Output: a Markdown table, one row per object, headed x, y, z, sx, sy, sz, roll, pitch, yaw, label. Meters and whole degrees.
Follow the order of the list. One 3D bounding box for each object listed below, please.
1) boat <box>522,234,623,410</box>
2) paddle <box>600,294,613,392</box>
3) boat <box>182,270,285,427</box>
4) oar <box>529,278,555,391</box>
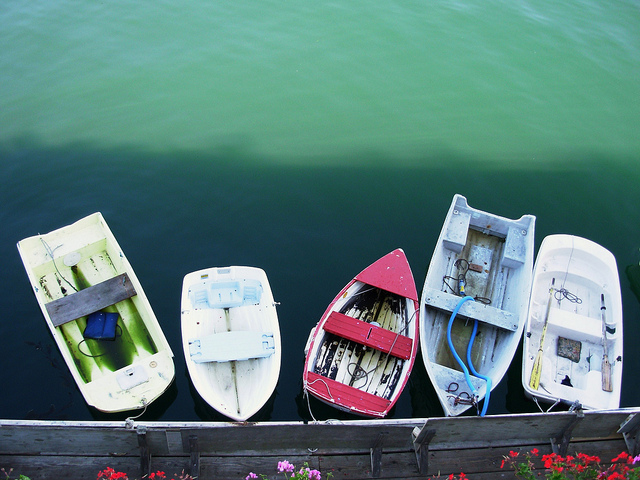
| x | y | z | sx | sy | sz | roll | pitch | yaw | label |
| --- | --- | --- | --- | --- | --- | --- | --- | --- | --- |
| 7.078 | 2.655 | 24.528 | 2.367 | 1.037 | 4.964 | 5 | 62 | 10 | boat |
| 7.733 | 2.831 | 23.281 | 0.269 | 0.173 | 2.548 | 0 | 53 | 14 | paddle |
| -2.370 | 2.601 | 22.966 | 2.474 | 0.776 | 3.965 | -13 | 67 | -3 | boat |
| 6.066 | 2.737 | 23.359 | 0.265 | 0.502 | 2.880 | 15 | 69 | 9 | oar |
